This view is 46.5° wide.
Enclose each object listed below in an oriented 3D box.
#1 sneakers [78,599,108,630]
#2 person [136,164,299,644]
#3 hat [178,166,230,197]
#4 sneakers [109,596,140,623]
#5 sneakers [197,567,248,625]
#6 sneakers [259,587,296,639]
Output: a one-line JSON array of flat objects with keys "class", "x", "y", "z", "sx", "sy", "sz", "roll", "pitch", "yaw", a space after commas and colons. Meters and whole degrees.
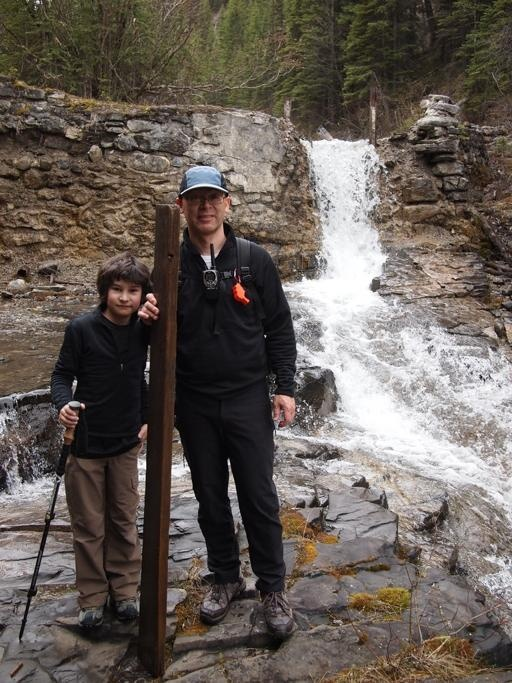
[{"class": "sneakers", "x": -0.671, "y": 1.112, "z": 2.420, "sx": 0.052, "sy": 0.148, "sz": 0.062, "roll": 6, "pitch": 48, "yaw": -3}, {"class": "person", "x": -0.089, "y": 0.229, "z": 2.485, "sx": 0.504, "sy": 1.927, "sz": 0.297, "roll": 0, "pitch": 3, "yaw": 3}, {"class": "hat", "x": -0.211, "y": -0.669, "z": 2.462, "sx": 0.187, "sy": 0.162, "sz": 0.240, "roll": 0, "pitch": 2, "yaw": 6}, {"class": "sneakers", "x": -0.543, "y": 1.138, "z": 2.511, "sx": 0.062, "sy": 0.066, "sz": 0.151, "roll": 3, "pitch": -16, "yaw": -25}, {"class": "sneakers", "x": -0.151, "y": 1.088, "z": 2.579, "sx": 0.102, "sy": 0.126, "sz": 0.293, "roll": -5, "pitch": 11, "yaw": 30}, {"class": "sneakers", "x": 0.089, "y": 1.109, "z": 2.456, "sx": 0.084, "sy": 0.101, "sz": 0.227, "roll": -3, "pitch": 0, "yaw": -8}]
